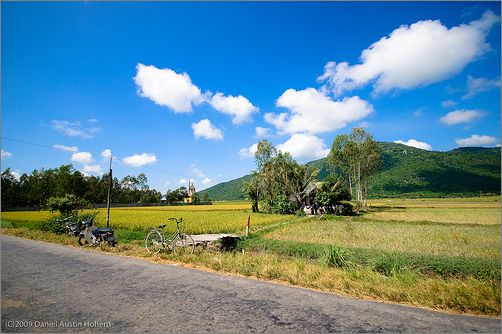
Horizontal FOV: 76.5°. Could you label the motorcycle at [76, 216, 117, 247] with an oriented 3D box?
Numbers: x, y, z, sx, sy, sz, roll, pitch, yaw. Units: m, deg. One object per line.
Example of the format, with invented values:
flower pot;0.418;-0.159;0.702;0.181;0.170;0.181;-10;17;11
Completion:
motorcycle;-10.071;4.238;20.761;2.750;1.749;0.893;2;8;21
